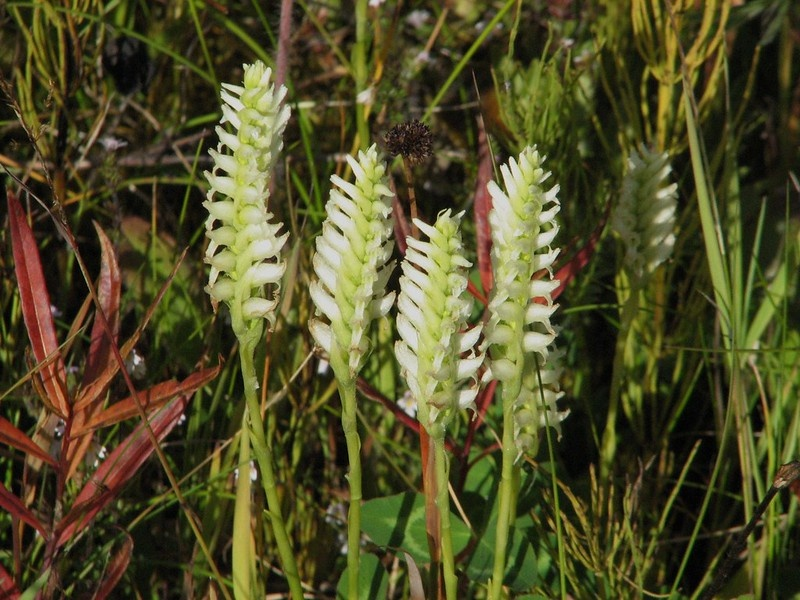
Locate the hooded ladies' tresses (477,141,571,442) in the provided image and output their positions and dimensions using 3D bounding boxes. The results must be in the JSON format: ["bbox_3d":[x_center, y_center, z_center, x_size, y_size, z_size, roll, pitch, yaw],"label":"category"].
[{"bbox_3d":[0.173,-0.053,1.253,0.095,0.364,0.346,1,29,10],"label":"hooded ladies' tresses"}]

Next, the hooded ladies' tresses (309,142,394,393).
[{"bbox_3d":[-0.061,-0.052,1.165,0.116,0.281,0.183,-4,27,0],"label":"hooded ladies' tresses"}]

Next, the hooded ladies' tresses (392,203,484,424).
[{"bbox_3d":[0.048,0.021,1.137,0.109,0.247,0.116,-7,27,-7],"label":"hooded ladies' tresses"}]
